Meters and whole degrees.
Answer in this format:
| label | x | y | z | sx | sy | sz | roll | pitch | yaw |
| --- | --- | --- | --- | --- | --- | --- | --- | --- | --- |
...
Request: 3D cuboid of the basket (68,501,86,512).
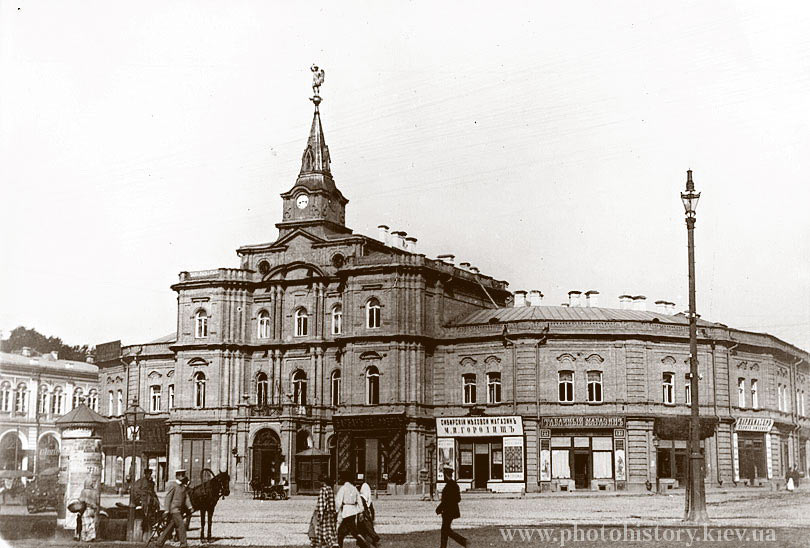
| label | x | y | z | sx | sy | sz | roll | pitch | yaw |
| --- | --- | --- | --- | --- | --- | --- | --- | --- | --- |
| basket | -15.219 | 10.682 | 54.920 | 0.468 | 0.453 | 0.647 | -9 | -7 | 40 |
